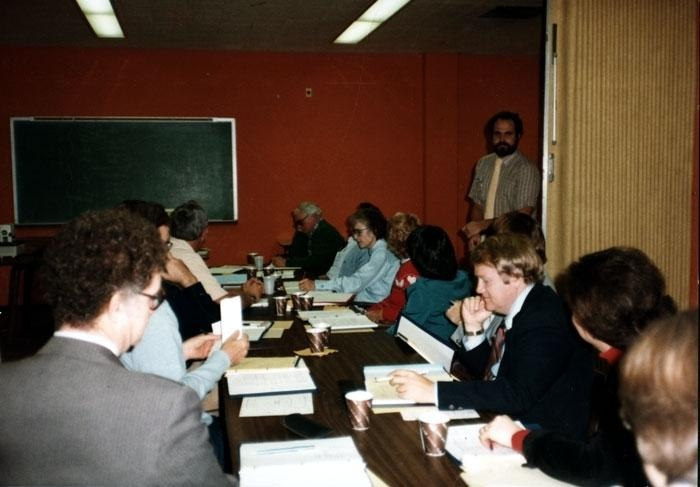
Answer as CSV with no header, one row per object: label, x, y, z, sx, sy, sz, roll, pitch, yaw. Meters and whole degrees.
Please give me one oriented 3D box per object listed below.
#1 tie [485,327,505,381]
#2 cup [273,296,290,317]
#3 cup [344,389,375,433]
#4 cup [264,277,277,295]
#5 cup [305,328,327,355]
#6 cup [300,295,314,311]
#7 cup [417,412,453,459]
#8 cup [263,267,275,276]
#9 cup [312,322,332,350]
tie,0.607,0.460,2.367,0.046,0.184,0.140,10,-11,6
cup,-0.409,0.390,3.407,0.096,0.105,0.095,-1,-11,0
cup,0.015,0.572,1.936,0.107,0.119,0.106,-2,0,0
cup,-0.564,0.295,4.010,0.077,0.113,0.120,0,-5,-3
cup,-0.158,0.442,2.554,0.099,0.110,0.101,-1,7,0
cup,-0.262,0.365,3.433,0.080,0.067,0.076,-2,6,0
cup,0.252,0.603,1.792,0.106,0.113,0.110,-1,2,0
cup,-0.680,0.234,4.729,0.075,0.074,0.077,2,1,0
cup,-0.127,0.427,2.602,0.091,0.079,0.084,-3,7,0
